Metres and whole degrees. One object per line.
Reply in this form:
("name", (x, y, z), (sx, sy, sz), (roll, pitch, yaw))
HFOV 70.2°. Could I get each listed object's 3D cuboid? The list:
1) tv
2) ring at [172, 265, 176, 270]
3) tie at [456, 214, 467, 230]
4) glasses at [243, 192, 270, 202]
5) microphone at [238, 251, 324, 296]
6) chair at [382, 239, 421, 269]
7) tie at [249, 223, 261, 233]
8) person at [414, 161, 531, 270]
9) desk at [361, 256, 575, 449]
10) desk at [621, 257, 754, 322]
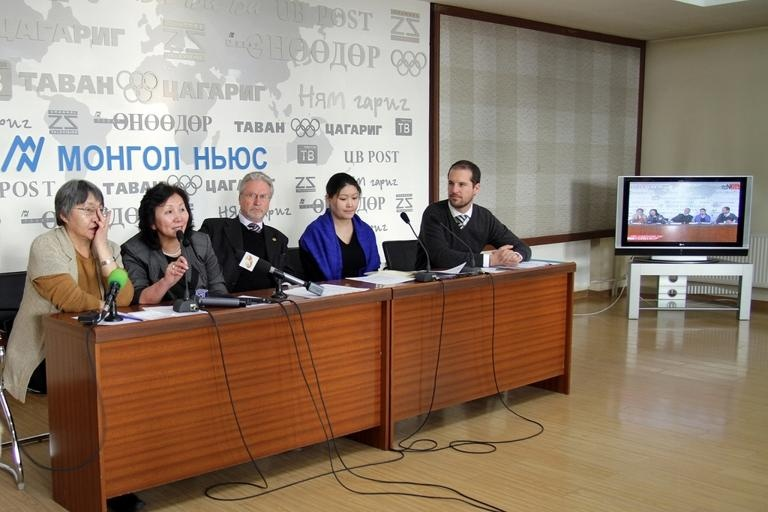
("tv", (3.736, -0.473, 6.789), (1.213, 0.741, 0.302), (1, -4, 5))
("ring", (-1.134, 0.059, 2.947), (0.025, 0.022, 0.011), (2, 0, -4))
("tie", (0.614, -0.277, 4.376), (0.125, 0.114, 0.033), (2, 5, 1))
("glasses", (-1.021, -0.477, 4.394), (0.196, 0.054, 0.060), (-3, 10, -18))
("microphone", (-0.723, 0.122, 3.749), (0.603, 0.097, 0.136), (21, -2, -28))
("chair", (0.191, -0.025, 4.937), (0.281, 0.337, 0.291), (-1, 1, -26))
("tie", (-1.044, -0.229, 4.426), (0.086, 0.076, 0.026), (-3, 48, -7))
("person", (0.659, -0.381, 4.451), (0.890, 1.025, 0.950), (-3, 11, -11))
("desk", (0.557, 0.671, 3.772), (1.333, 0.664, 0.458), (-4, 5, -40))
("desk", (4.241, 0.406, 7.082), (0.908, 0.660, 1.508), (-3, 0, -30))
